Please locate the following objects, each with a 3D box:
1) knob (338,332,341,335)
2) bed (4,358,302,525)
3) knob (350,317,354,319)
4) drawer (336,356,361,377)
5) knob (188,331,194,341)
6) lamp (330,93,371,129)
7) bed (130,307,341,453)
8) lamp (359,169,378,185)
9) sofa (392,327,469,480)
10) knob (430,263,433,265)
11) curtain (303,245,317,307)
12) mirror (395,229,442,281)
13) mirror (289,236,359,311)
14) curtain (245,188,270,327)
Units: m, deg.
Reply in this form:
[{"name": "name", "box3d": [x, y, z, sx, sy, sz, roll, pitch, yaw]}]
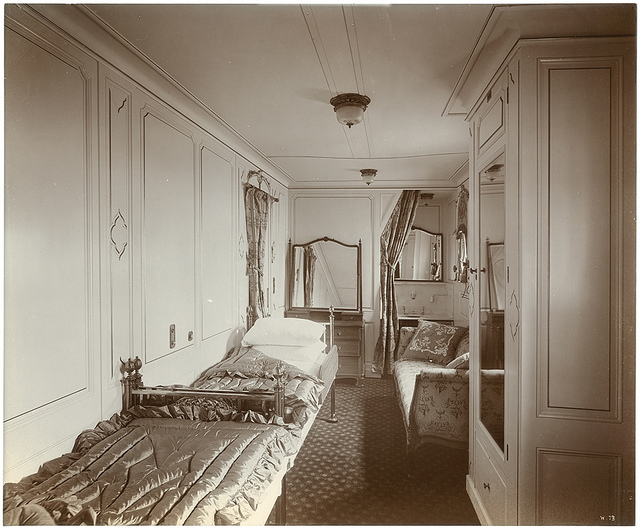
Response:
[{"name": "knob", "box3d": [0.263, 0.942, 6.349, 0.036, 0.023, 0.038, 2, 3, 32]}, {"name": "bed", "box3d": [-0.812, 1.042, 2.557, 1.035, 0.798, 1.124, 0, -2, 4]}, {"name": "knob", "box3d": [0.449, 0.748, 6.556, 0.025, 0.027, 0.007, -27, -27, -10]}, {"name": "drawer", "box3d": [0.386, 1.291, 6.283, 0.369, 0.312, 0.233, 0, -8, 3]}, {"name": "knob", "box3d": [-1.062, 0.582, 3.784, 0.023, 0.069, 0.088, 1, -1, 9]}, {"name": "lamp", "box3d": [0.230, -1.146, 3.522, 0.205, 0.164, 0.224, 0, -3, 2]}, {"name": "bed", "box3d": [-0.537, 1.228, 4.281, 1.240, 1.369, 2.346, -2, 2, 13]}, {"name": "lamp", "box3d": [0.621, -1.127, 5.907, 0.154, 0.135, 0.168, 2, -4, -2]}, {"name": "sofa", "box3d": [1.183, 1.137, 4.745, 0.718, 1.028, 2.229, 0, 1, 7]}, {"name": "knob", "box3d": [1.711, -0.022, 7.104, 0.026, 0.031, 0.052, 4, 1, 10]}, {"name": "curtain", "box3d": [-0.140, 0.220, 6.773, 0.069, 0.837, 0.222, 11, 14, 33]}, {"name": "mirror", "box3d": [1.505, -0.189, 7.038, 0.657, 0.807, 0.074, 0, 6, 3]}, {"name": "mirror", "box3d": [0.068, 0.163, 6.726, 0.892, 1.141, 0.049, 1, -1, 5]}, {"name": "curtain", "box3d": [-0.688, -0.113, 5.254, 0.156, 1.466, 0.723, 1, 0, 15]}]
